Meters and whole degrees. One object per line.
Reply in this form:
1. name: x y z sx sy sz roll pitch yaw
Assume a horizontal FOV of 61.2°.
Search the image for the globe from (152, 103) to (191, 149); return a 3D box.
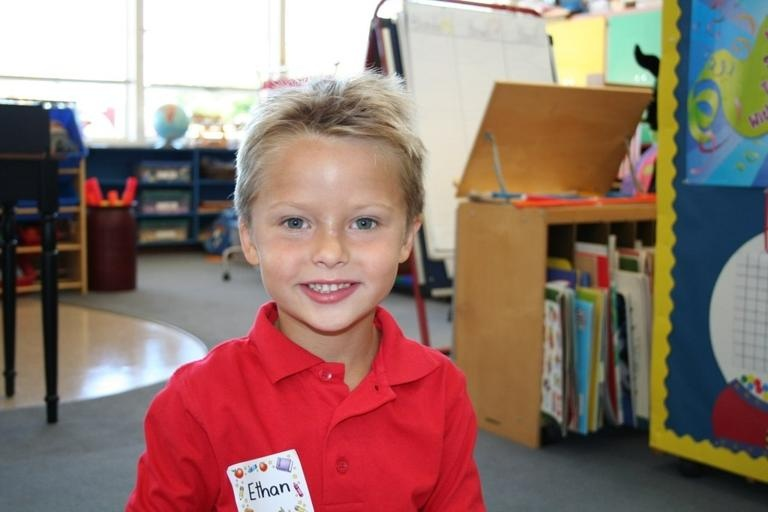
1. globe: -2.278 -1.400 7.035 0.383 0.460 0.382 2 -7 -2
